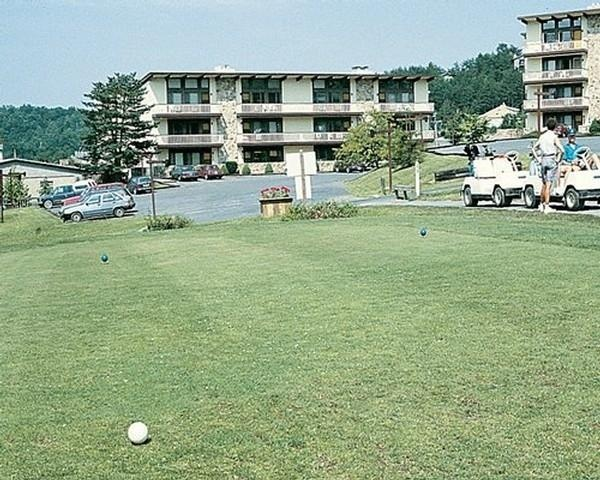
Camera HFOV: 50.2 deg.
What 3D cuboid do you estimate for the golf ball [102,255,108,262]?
[{"bbox_3d":[-4.259,0.391,13.918,0.142,0.193,0.192,1,-7,-14],"label":"golf ball"}]

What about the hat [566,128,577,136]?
[{"bbox_3d":[7.710,-3.102,18.208,0.310,0.164,0.466,-2,4,4],"label":"hat"}]

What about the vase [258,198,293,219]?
[{"bbox_3d":[-1.056,-1.418,26.790,0.935,0.633,0.976,0,1,-8],"label":"vase"}]

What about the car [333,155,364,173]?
[{"bbox_3d":[5.689,-8.779,75.776,2.041,1.507,5.574,-9,13,-23],"label":"car"}]

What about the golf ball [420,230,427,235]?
[{"bbox_3d":[2.867,-0.180,14.796,0.140,0.173,0.137,-1,3,0],"label":"golf ball"}]
